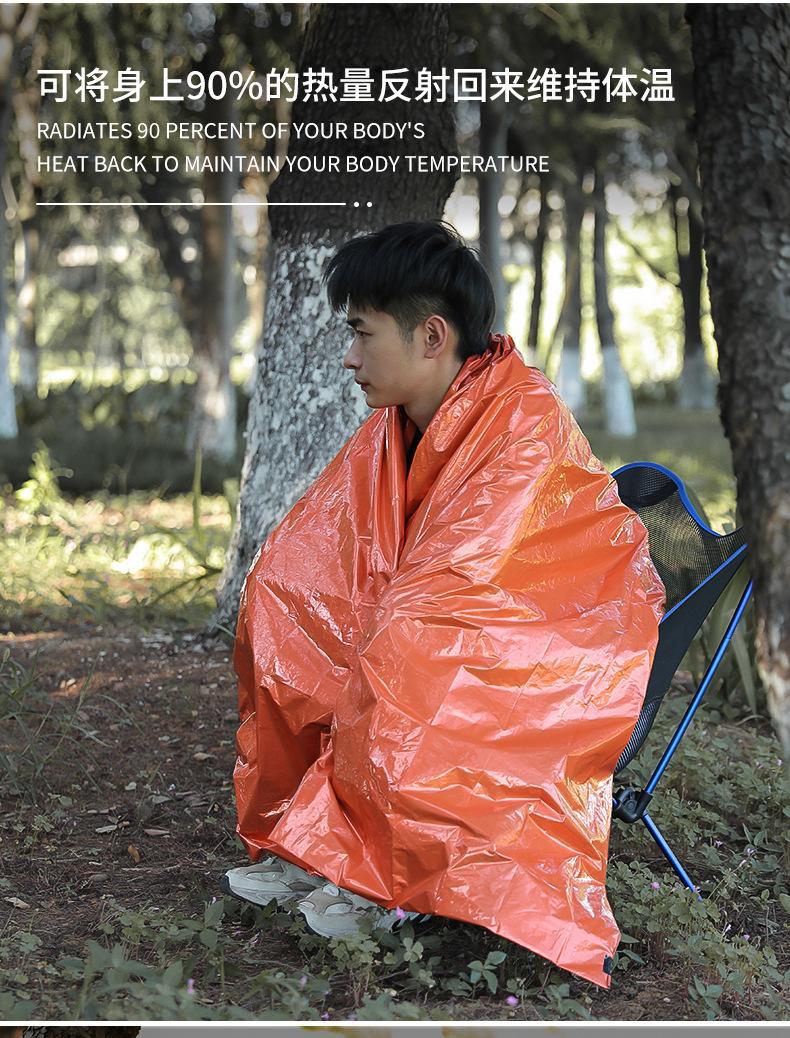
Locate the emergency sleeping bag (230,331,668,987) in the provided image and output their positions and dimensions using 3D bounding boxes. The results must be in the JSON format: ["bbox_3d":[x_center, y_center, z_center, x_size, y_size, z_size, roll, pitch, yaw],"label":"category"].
[{"bbox_3d":[0.192,0.173,2.881,1.140,1.241,1.118,17,21,37],"label":"emergency sleeping bag"}]

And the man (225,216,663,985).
[{"bbox_3d":[0.176,0.134,2.950,0.950,1.421,1.329,-1,3,-25],"label":"man"}]
